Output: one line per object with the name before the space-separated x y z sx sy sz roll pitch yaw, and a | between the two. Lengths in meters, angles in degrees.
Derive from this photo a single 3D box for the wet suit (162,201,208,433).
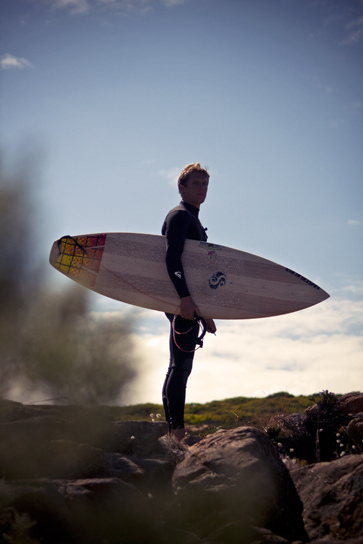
wet suit | -0.029 0.295 5.369 0.337 1.706 0.834 5 5 -2
